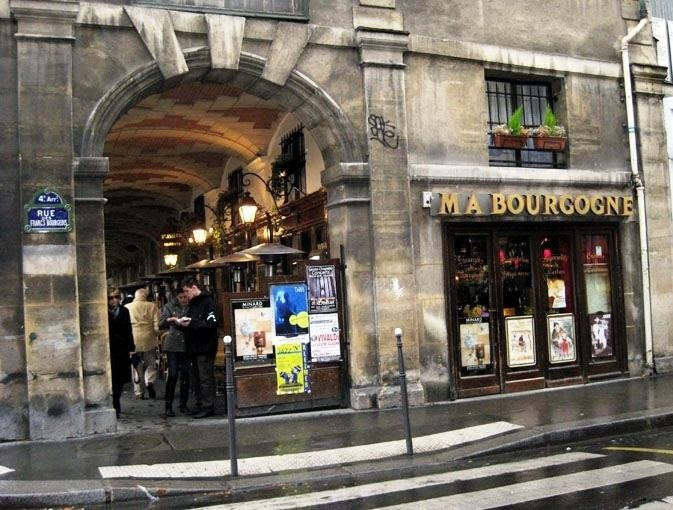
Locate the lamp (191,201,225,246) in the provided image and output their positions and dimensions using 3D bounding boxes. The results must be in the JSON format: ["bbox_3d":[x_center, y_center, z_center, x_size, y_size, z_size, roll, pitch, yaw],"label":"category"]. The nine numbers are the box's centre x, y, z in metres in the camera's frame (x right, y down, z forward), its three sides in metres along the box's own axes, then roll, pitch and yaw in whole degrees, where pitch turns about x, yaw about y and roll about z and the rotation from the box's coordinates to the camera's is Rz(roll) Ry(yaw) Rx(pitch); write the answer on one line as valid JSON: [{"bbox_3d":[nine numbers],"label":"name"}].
[{"bbox_3d":[-3.925,-1.112,27.226,0.958,1.900,4.139,-2,-6,-9],"label":"lamp"}]
